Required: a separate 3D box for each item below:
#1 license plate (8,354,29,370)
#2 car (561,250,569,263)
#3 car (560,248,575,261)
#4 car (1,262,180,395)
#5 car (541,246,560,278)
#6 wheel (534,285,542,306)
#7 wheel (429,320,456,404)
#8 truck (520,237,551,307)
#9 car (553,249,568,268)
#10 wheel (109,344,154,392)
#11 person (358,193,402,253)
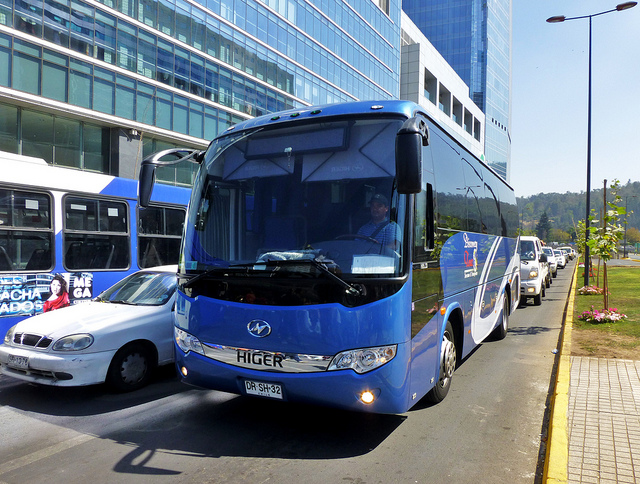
[{"bbox_3d":[-4.365,1.719,6.512,0.485,0.195,0.024,1,3,25],"label":"license plate"},{"bbox_3d":[31.713,1.839,58.313,1.124,1.311,2.060,1,11,25],"label":"car"},{"bbox_3d":[36.617,1.784,66.690,1.416,1.680,2.623,-3,-8,30],"label":"car"},{"bbox_3d":[-3.432,1.187,7.006,1.548,1.466,3.286,-4,-8,30],"label":"car"},{"bbox_3d":[14.872,1.305,28.954,1.762,1.938,3.613,-3,-5,24],"label":"car"},{"bbox_3d":[7.967,1.936,16.500,0.206,0.775,0.700,0,-3,14],"label":"wheel"},{"bbox_3d":[1.751,1.713,6.463,0.276,1.189,0.828,1,3,23],"label":"wheel"},{"bbox_3d":[8.651,1.029,17.564,1.510,2.039,3.590,-4,-7,26],"label":"truck"},{"bbox_3d":[25.346,1.695,47.450,1.494,1.515,3.523,-3,-6,30],"label":"car"},{"bbox_3d":[-2.929,1.929,6.897,0.175,0.656,0.597,-4,-13,21],"label":"wheel"},{"bbox_3d":[0.621,-0.169,5.022,0.499,0.789,0.483,1,-16,12],"label":"person"}]
